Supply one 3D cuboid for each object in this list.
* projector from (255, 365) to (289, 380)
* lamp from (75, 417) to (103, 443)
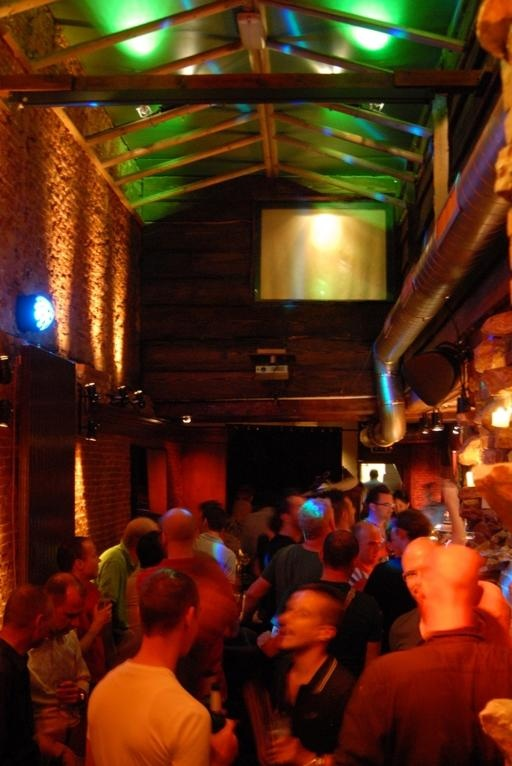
[{"bbox_3d":[0.200,-0.130,7.337,0.302,0.183,0.139,0,11,9],"label":"projector"},{"bbox_3d":[-1.559,0.430,5.665,0.276,0.258,0.149,-6,-26,13],"label":"lamp"}]
